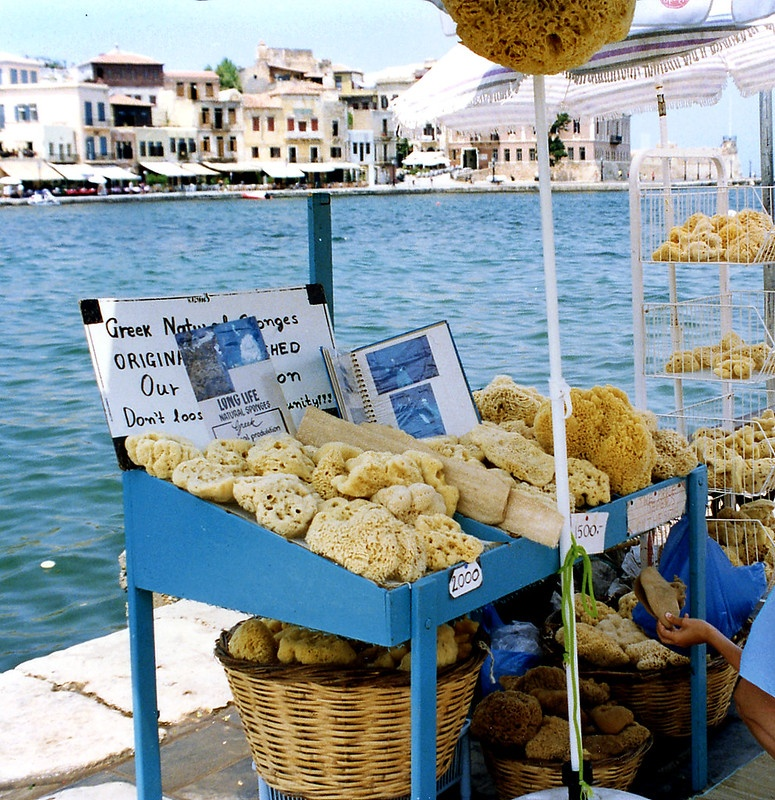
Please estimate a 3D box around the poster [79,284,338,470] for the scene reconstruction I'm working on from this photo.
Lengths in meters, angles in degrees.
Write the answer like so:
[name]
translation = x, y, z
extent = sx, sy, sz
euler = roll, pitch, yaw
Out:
[poster]
translation = -0.400, -0.080, 2.468
extent = 0.013, 0.371, 0.780
euler = -8, 2, 39
